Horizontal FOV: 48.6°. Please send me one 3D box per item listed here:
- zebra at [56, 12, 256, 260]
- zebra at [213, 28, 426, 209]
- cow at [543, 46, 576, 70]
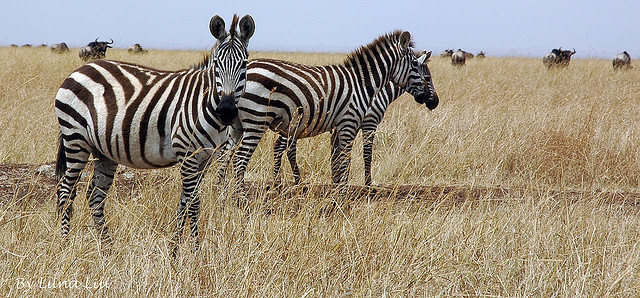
[{"bbox_3d":[-3.362,-0.131,14.743,5.568,4.566,1.760,1,3,30],"label":"zebra"},{"bbox_3d":[0.107,-0.795,16.103,5.299,3.283,1.503,-6,12,-22],"label":"zebra"},{"bbox_3d":[13.531,-5.082,39.916,2.405,1.168,0.645,-8,13,-21],"label":"cow"}]
